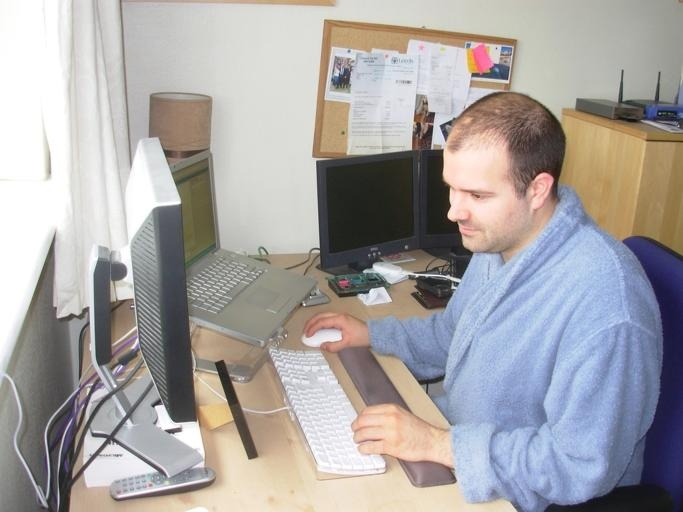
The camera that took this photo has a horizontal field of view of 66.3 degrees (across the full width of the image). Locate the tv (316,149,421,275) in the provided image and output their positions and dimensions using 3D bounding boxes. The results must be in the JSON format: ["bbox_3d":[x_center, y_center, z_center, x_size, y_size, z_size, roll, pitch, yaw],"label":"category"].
[{"bbox_3d":[0.104,-0.159,1.972,0.401,0.413,0.155,-11,17,-28],"label":"tv"}]

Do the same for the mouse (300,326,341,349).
[{"bbox_3d":[-0.055,0.246,1.556,0.088,0.021,0.055,-7,33,-18],"label":"mouse"}]

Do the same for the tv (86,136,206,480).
[{"bbox_3d":[-0.456,0.140,1.208,0.230,0.562,0.600,-5,36,-14],"label":"tv"}]

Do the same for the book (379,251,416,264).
[{"bbox_3d":[0.235,0.014,2.127,0.076,0.003,0.070,-6,30,-14],"label":"book"}]

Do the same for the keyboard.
[{"bbox_3d":[-0.041,0.470,1.298,0.164,0.059,0.549,-12,33,-10],"label":"keyboard"}]

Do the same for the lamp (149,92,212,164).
[{"bbox_3d":[-0.553,-0.470,1.945,0.237,0.235,0.245,7,19,5],"label":"lamp"}]
